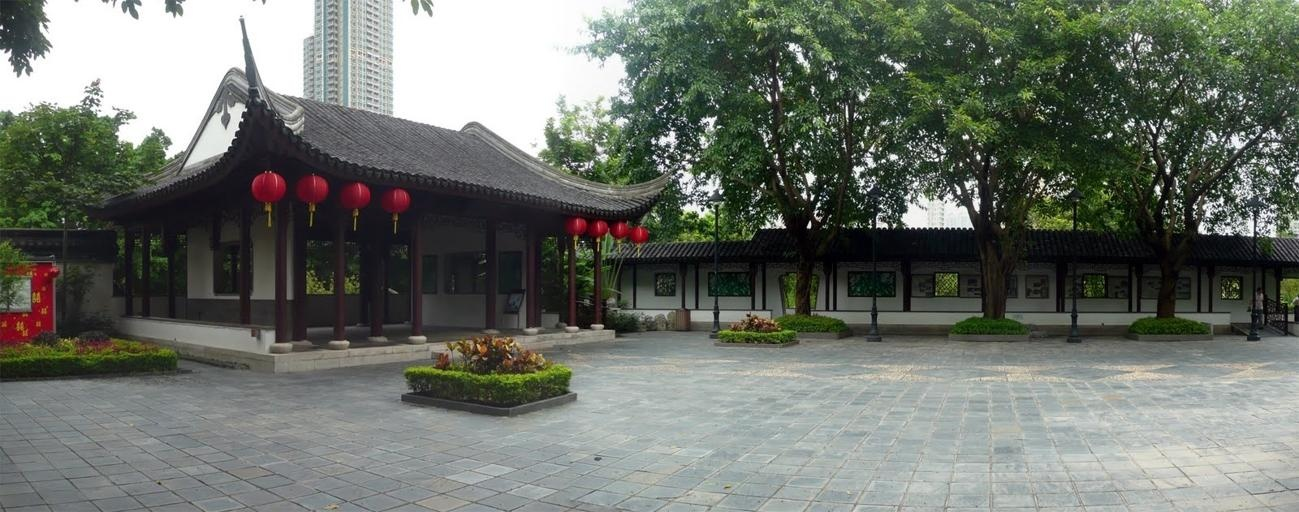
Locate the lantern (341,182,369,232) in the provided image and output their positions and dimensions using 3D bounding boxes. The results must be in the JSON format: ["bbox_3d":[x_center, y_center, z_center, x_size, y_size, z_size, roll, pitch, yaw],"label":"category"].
[{"bbox_3d":[-12.612,-2.244,34.974,1.177,1.643,1.452,-2,-5,-6],"label":"lantern"}]

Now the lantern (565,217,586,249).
[{"bbox_3d":[-3.536,-1.145,39.051,1.070,1.417,0.929,-3,-5,3],"label":"lantern"}]

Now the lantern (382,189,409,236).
[{"bbox_3d":[-11.065,-2.114,35.520,1.230,1.588,1.272,-1,-5,-14],"label":"lantern"}]

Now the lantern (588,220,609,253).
[{"bbox_3d":[-2.565,-0.972,39.588,0.979,1.557,0.928,-4,-5,13],"label":"lantern"}]
